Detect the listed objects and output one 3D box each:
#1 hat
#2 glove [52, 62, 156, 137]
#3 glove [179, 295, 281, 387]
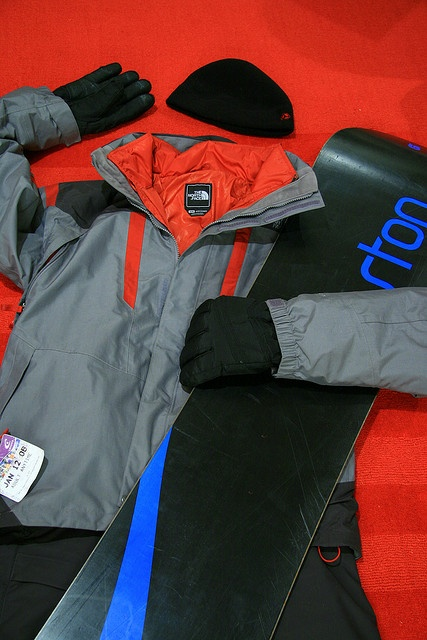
[{"bbox_3d":[0.073,-0.841,1.968,0.391,0.297,0.104,2,-2,0],"label":"hat"},{"bbox_3d":[-0.425,-0.808,2.026,0.277,0.152,0.497,11,-9,-22],"label":"glove"},{"bbox_3d":[0.043,0.059,1.373,0.255,0.195,0.194,4,28,2],"label":"glove"}]
